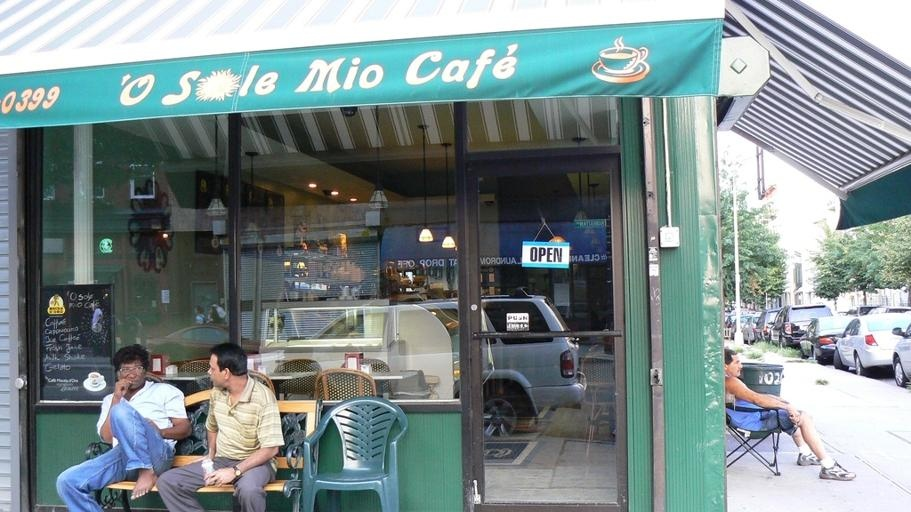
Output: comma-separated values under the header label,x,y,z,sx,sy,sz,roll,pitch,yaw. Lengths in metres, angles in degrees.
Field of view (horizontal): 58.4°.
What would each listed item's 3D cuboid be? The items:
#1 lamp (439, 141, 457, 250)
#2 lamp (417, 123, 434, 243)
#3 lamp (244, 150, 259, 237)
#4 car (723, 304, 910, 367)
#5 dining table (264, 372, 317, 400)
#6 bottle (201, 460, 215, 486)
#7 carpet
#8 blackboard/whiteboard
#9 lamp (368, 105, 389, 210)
label,x,y,z,sx,sy,sz,roll,pitch,yaw
lamp,-0.090,-0.810,10.764,0.077,1.436,0.280,2,-7,-40
lamp,-0.418,-0.984,11.039,0.096,1.636,0.278,2,-6,-36
lamp,-2.829,-0.917,11.337,0.060,1.146,0.256,-4,-6,27
car,10.568,2.229,21.347,1.698,1.251,3.761,-1,1,5
dining table,-2.231,1.771,11.237,0.471,0.461,0.476,-1,-5,4
bottle,-3.047,2.651,10.040,0.151,0.292,0.315,0,-6,-23
carpet,0.730,2.379,10.342,0.868,0.797,0.212,-1,7,-1
blackboard/whiteboard,-5.148,1.133,11.201,0.818,1.755,0.673,0,-2,2
lamp,-1.074,-1.358,11.373,0.246,1.355,0.441,-1,-5,-8
